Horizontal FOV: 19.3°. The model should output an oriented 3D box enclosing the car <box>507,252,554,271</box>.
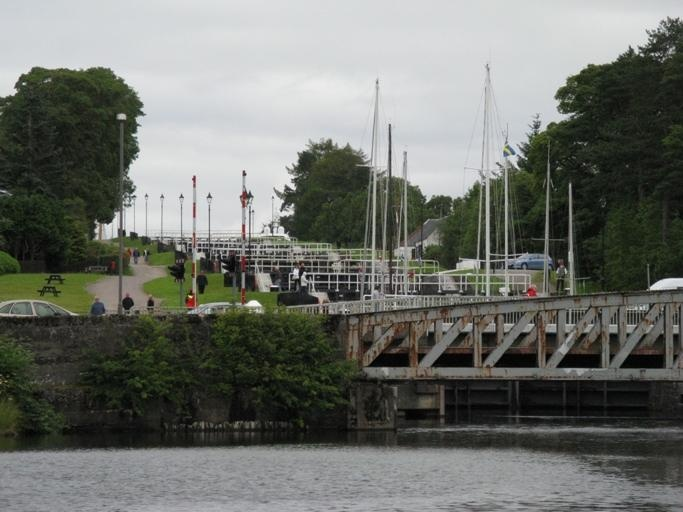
[{"bbox_3d":[15.838,0.331,172.157,3.142,1.324,1.783,2,-2,-11],"label":"car"}]
